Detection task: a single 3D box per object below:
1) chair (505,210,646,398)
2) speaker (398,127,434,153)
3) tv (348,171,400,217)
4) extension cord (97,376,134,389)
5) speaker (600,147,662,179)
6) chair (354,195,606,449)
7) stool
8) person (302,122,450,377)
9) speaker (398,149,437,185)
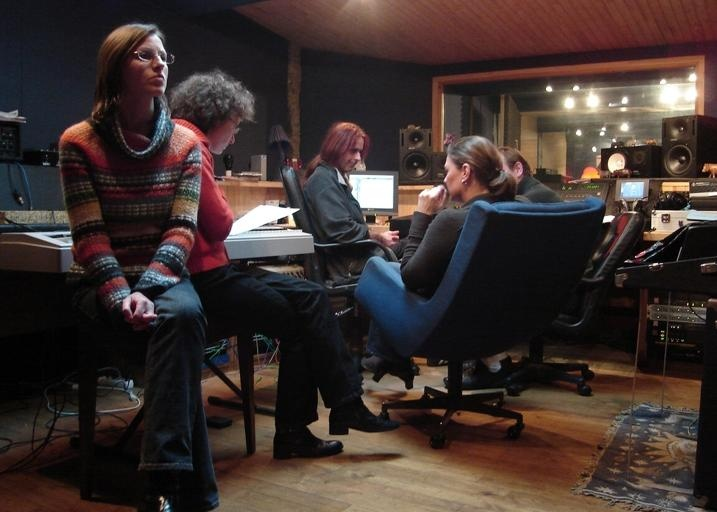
[{"bbox_3d":[1.287,0.279,3.603,0.811,1.255,0.725,11,8,23],"label":"chair"},{"bbox_3d":[0.584,-1.189,5.624,0.364,0.278,0.224,3,12,11],"label":"speaker"},{"bbox_3d":[0.134,-0.581,5.156,0.544,0.413,0.060,1,1,2],"label":"tv"},{"bbox_3d":[-1.532,0.809,3.479,0.201,0.057,0.146,7,-2,-4],"label":"extension cord"},{"bbox_3d":[2.305,-0.807,4.735,0.521,0.272,0.459,4,7,37],"label":"speaker"},{"bbox_3d":[0.576,0.273,2.794,1.125,1.190,1.243,1,3,10],"label":"chair"},{"bbox_3d":[-0.814,0.599,2.466,0.564,0.727,0.776,-6,-8,33],"label":"stool"},{"bbox_3d":[0.088,-0.347,4.159,0.900,1.469,0.880,-2,-3,-3],"label":"person"},{"bbox_3d":[0.591,-0.835,5.628,0.403,0.419,0.312,-7,1,15],"label":"speaker"}]
